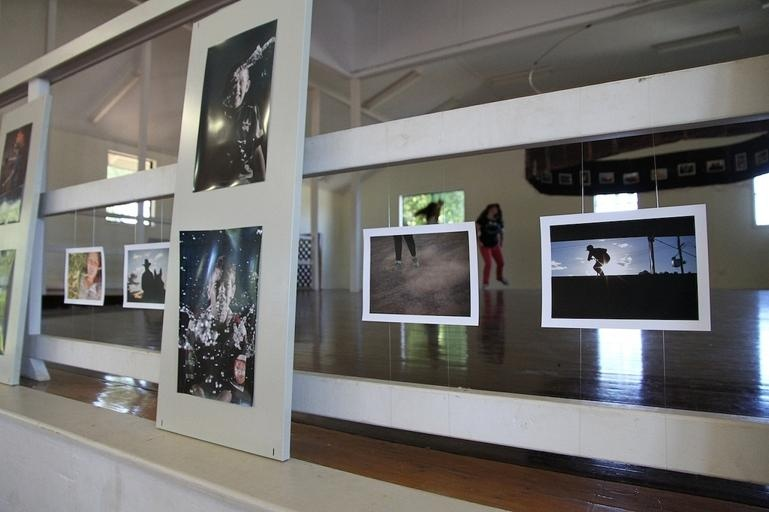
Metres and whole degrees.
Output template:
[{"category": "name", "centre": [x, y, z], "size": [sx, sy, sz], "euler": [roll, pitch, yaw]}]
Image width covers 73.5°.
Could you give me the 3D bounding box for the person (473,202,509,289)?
[{"category": "person", "centre": [0.836, -0.047, 3.974], "size": [0.247, 0.756, 0.669], "euler": [3, 14, 14]}]
